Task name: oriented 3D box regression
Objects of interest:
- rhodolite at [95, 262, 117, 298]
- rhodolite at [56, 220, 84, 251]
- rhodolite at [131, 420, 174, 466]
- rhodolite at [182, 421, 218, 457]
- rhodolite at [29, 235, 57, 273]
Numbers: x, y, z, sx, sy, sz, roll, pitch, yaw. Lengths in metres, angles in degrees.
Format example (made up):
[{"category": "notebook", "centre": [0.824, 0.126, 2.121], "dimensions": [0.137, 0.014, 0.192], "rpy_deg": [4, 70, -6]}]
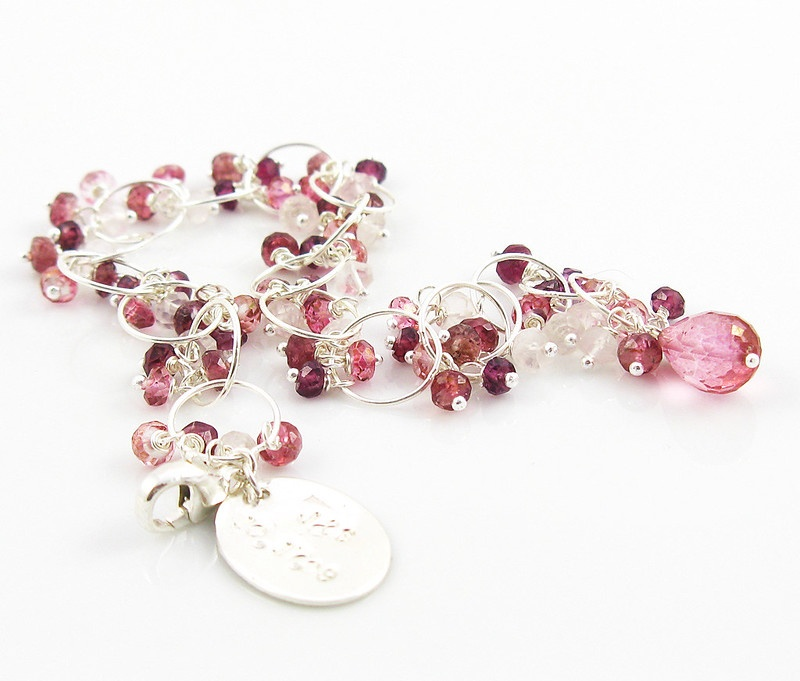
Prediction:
[{"category": "rhodolite", "centre": [-0.959, -0.198, 2.881], "dimensions": [0.089, 0.098, 0.060], "rpy_deg": [-1, -18, 19]}, {"category": "rhodolite", "centre": [-1.156, -0.360, 3.045], "dimensions": [0.091, 0.097, 0.087], "rpy_deg": [-6, -3, -5]}, {"category": "rhodolite", "centre": [-0.619, 0.266, 2.201], "dimensions": [0.101, 0.118, 0.074], "rpy_deg": [9, 31, 9]}, {"category": "rhodolite", "centre": [-0.508, 0.248, 2.218], "dimensions": [0.088, 0.069, 0.142], "rpy_deg": [-3, 28, -13]}, {"category": "rhodolite", "centre": [-1.208, -0.289, 2.945], "dimensions": [0.111, 0.112, 0.068], "rpy_deg": [1, -2, -13]}]
